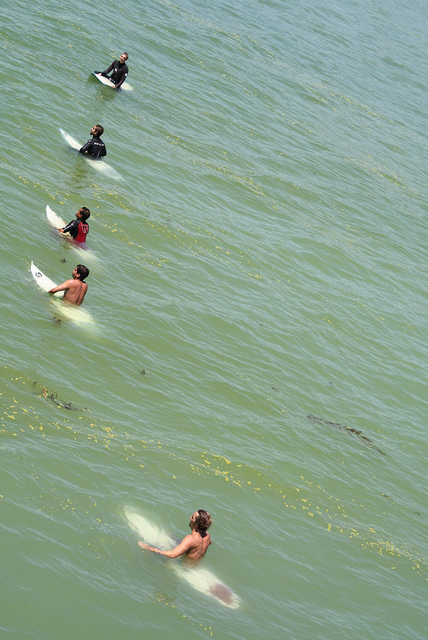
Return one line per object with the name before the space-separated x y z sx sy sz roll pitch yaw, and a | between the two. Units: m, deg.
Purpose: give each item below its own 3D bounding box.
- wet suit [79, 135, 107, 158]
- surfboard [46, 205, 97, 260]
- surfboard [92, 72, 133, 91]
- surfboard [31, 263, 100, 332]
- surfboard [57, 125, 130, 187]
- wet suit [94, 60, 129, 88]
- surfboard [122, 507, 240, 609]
wet suit | -4.036 -5.891 43.680 1.015 0.862 0.303 -7 44 -47
surfboard | -4.332 -2.572 38.570 2.483 0.262 0.449 40 73 14
surfboard | -4.093 -9.089 49.811 1.219 0.218 0.635 20 44 6
surfboard | -4.210 -0.565 35.786 2.379 0.269 0.483 47 60 -5
surfboard | -4.169 -5.525 44.208 1.951 2.296 1.781 -3 22 -10
wet suit | -4.020 -9.555 49.956 0.804 1.576 0.569 33 58 -12
surfboard | -0.881 5.625 29.824 3.434 0.178 0.686 37 69 -7
